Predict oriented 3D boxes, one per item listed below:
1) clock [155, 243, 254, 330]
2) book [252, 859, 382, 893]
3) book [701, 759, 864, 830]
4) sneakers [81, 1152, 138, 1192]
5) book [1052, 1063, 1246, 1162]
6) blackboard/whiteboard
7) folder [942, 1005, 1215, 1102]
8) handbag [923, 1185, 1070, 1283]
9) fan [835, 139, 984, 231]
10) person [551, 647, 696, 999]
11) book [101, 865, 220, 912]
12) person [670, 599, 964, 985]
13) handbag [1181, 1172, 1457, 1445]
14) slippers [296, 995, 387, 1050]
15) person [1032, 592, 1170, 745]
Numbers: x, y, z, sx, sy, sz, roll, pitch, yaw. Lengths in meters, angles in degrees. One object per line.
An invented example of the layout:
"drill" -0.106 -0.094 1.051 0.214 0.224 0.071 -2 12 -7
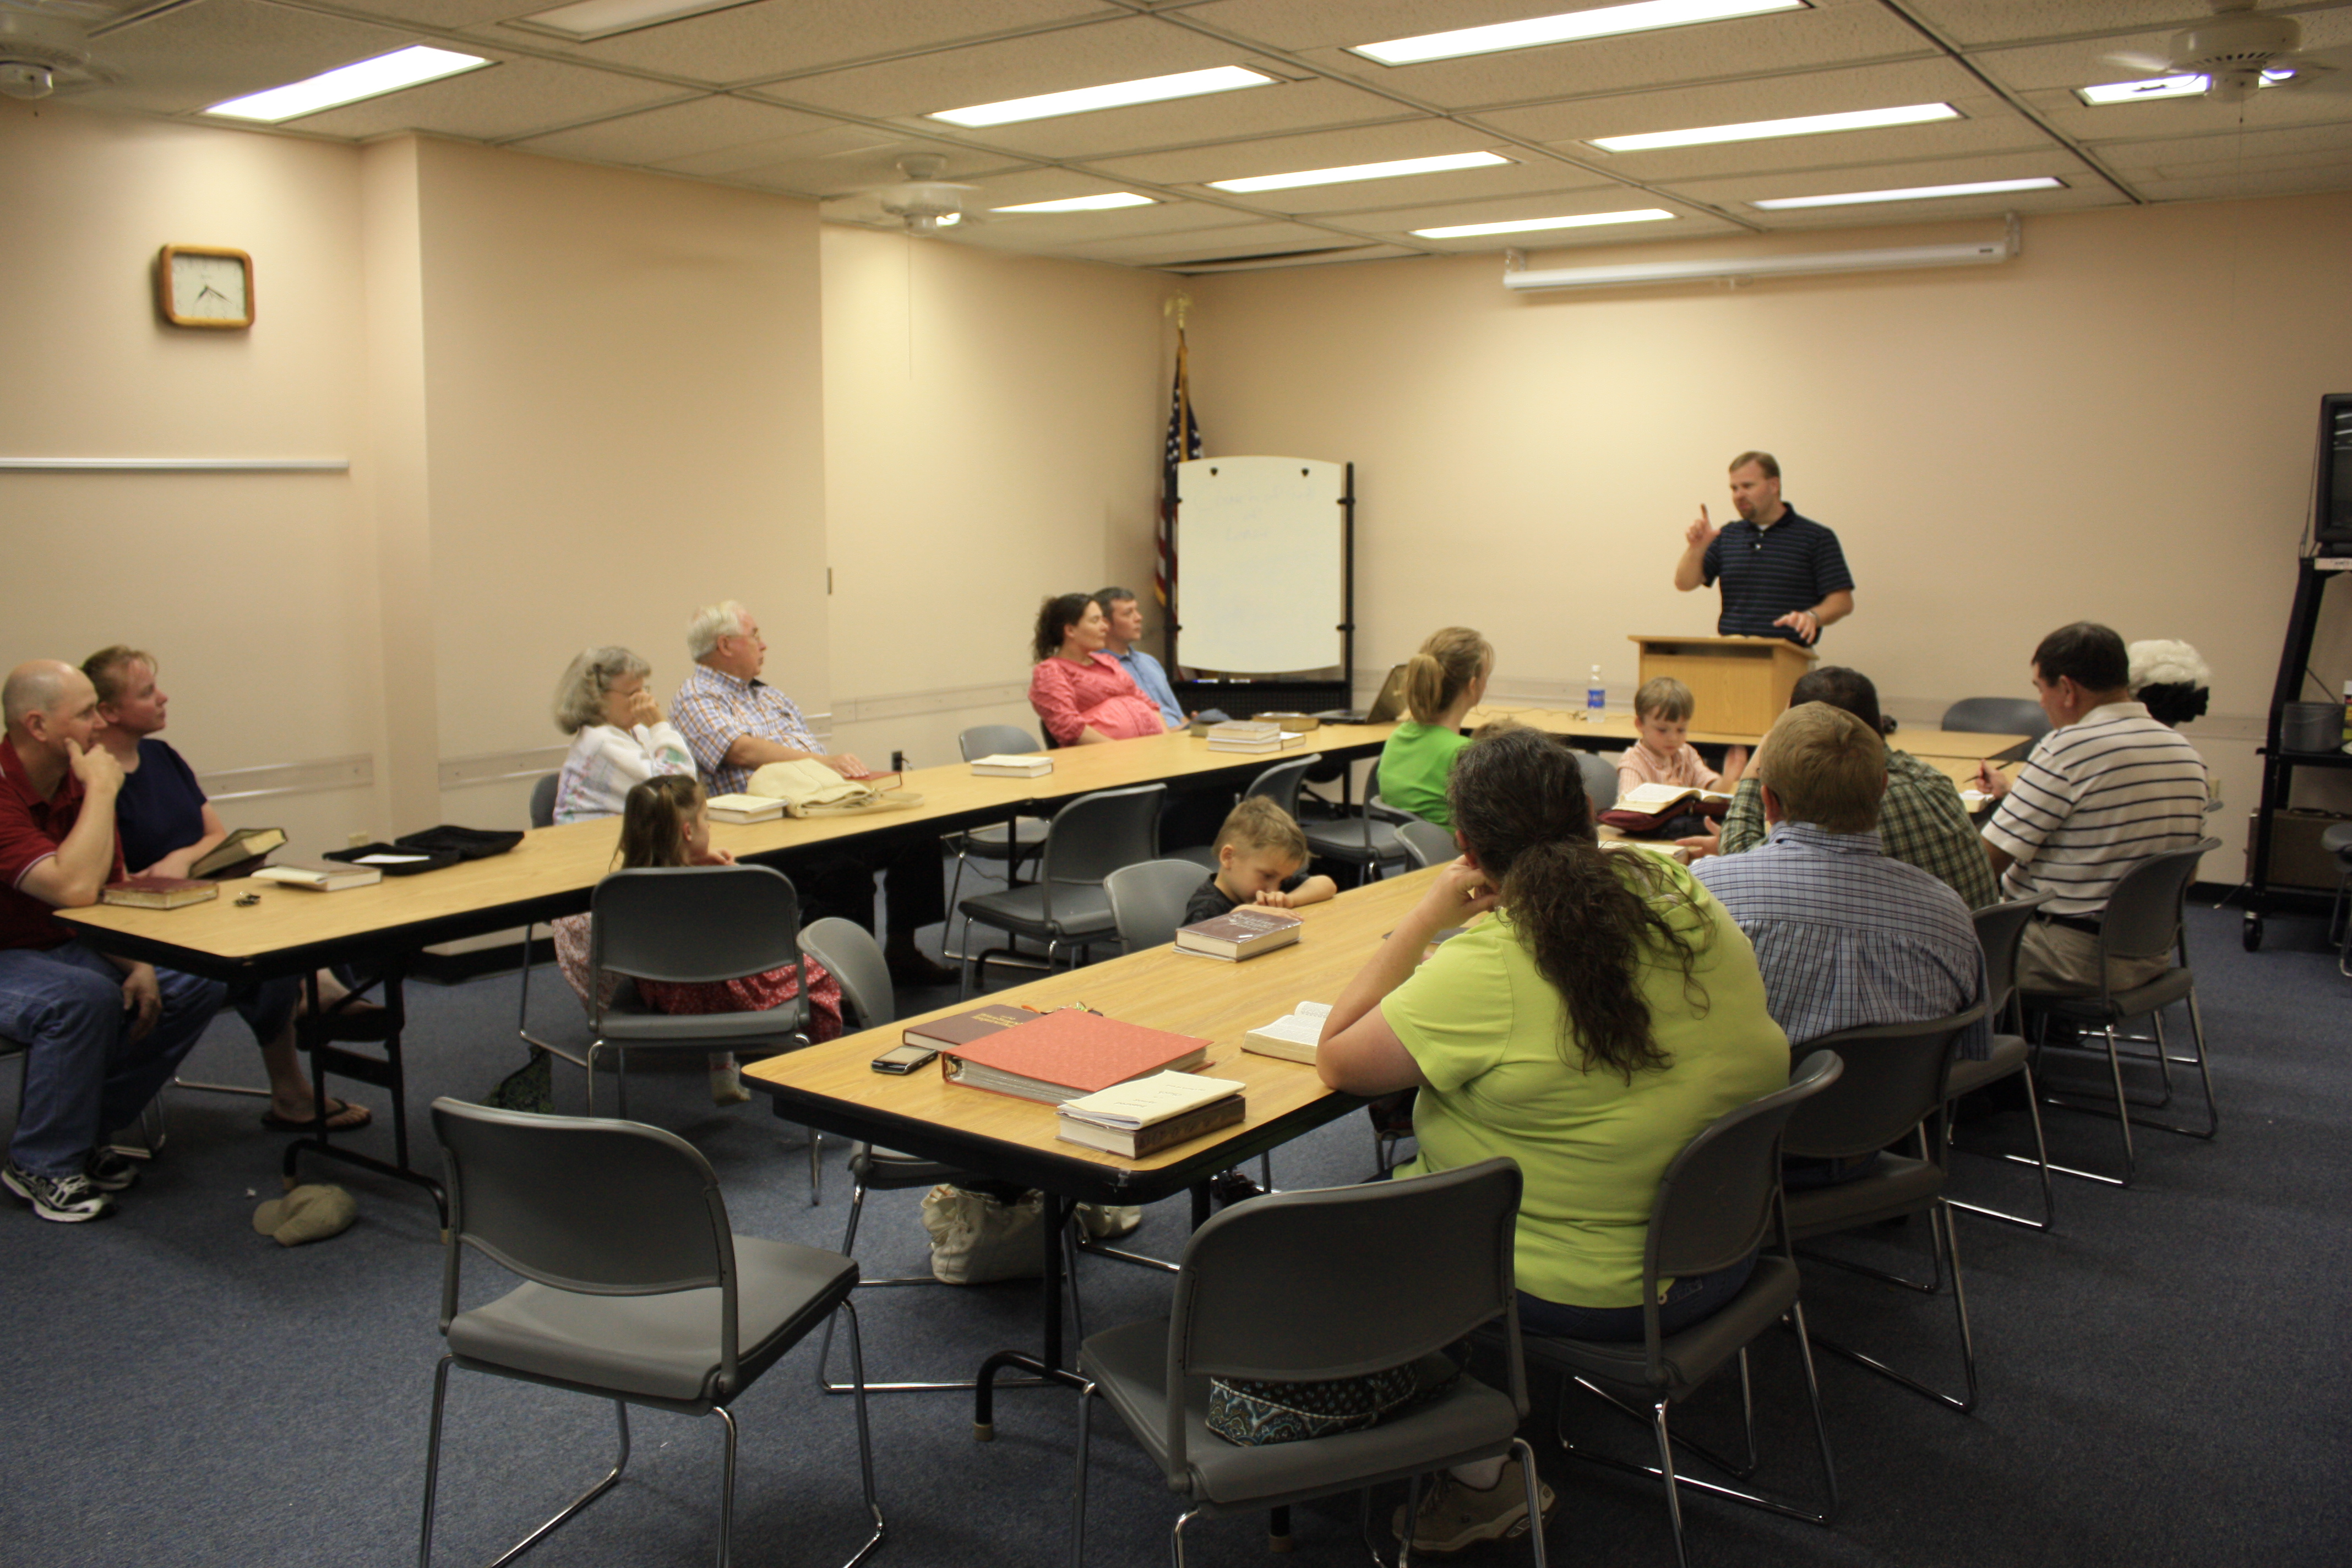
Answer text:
"clock" -3.956 -2.016 6.612 0.064 0.334 0.382 1 4 28
"book" -2.785 0.290 5.274 0.406 0.052 0.205 2 13 12
"book" -1.499 0.035 6.251 0.317 0.122 0.340 6 10 39
"sneakers" -3.412 1.236 5.233 0.194 0.080 0.070 10 5 21
"book" -0.031 0.696 3.494 0.180 0.066 0.241 8 12 40
"blackboard/whiteboard" 0.552 -1.382 10.221 1.282 1.480 0.189 0 2 3
"folder" -0.231 0.614 3.740 0.263 0.048 0.255 14 17 31
"handbag" -0.531 1.269 4.830 0.367 0.381 0.269 -3 8 -13
"fan" -1.237 -2.718 7.386 0.580 0.276 0.596 3 5 23
"person" -2.134 0.204 6.336 0.542 1.407 0.499 -5 8 -23
"book" -3.168 0.326 5.057 0.349 0.081 0.193 -2 13 -7
"person" -1.536 0.102 7.014 1.318 1.796 0.940 0 -1 17
"handbag" 0.283 1.037 3.176 0.680 0.210 0.525 -2 4 -25
"slippers" -2.652 0.775 5.152 0.305 0.125 0.170 3 4 33
"person" -0.405 -0.579 8.243 0.663 0.725 0.574 -3 13 -13
